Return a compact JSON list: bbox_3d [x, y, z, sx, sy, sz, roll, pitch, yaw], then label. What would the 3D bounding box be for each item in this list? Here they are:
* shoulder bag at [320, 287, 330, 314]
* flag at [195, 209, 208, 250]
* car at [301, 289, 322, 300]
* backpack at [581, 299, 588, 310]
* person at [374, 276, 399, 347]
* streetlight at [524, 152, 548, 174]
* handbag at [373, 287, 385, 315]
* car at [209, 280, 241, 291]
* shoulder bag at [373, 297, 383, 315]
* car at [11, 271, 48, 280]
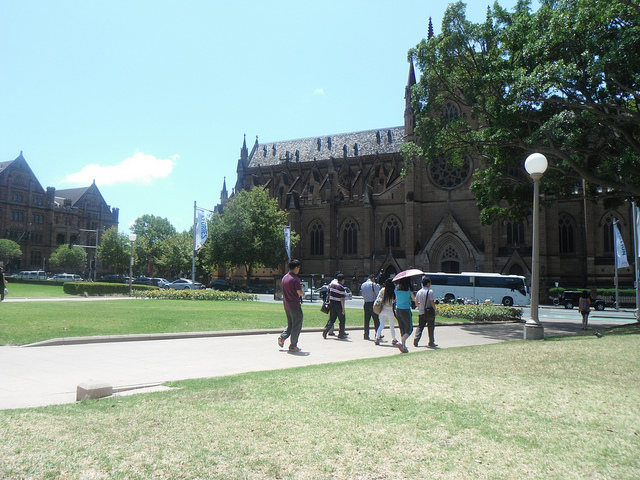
[{"bbox_3d":[0.169,1.901,17.472,0.318,0.795,0.598,14,-10,-4],"label":"shoulder bag"},{"bbox_3d":[-7.961,-0.729,38.160,0.843,3.308,0.031,-3,32,-22],"label":"flag"},{"bbox_3d":[-0.477,4.035,41.207,1.553,0.710,2.117,0,-2,-11],"label":"car"},{"bbox_3d":[10.335,2.530,22.169,0.277,0.469,0.242,-8,-27,34],"label":"backpack"},{"bbox_3d":[1.994,1.888,15.853,0.713,2.176,0.694,9,15,23],"label":"person"},{"bbox_3d":[6.394,-2.232,16.783,0.534,0.673,0.585,4,-28,17],"label":"streetlight"},{"bbox_3d":[1.627,1.763,15.670,0.344,0.588,0.576,16,-16,-4],"label":"handbag"},{"bbox_3d":[-9.565,4.678,56.170,2.734,1.071,1.310,-1,-3,4],"label":"car"},{"bbox_3d":[1.603,1.823,15.720,0.226,0.449,0.413,1,-6,-2],"label":"shoulder bag"},{"bbox_3d":[-33.391,4.084,66.031,2.460,1.077,7.222,6,-8,-39],"label":"car"}]
